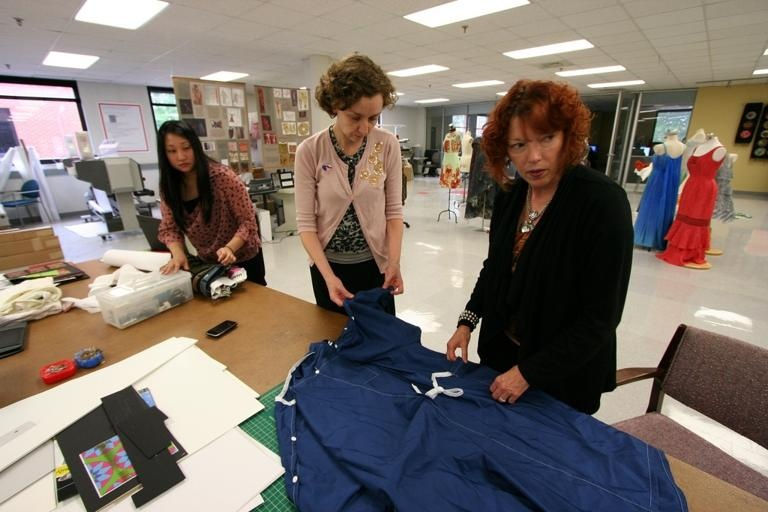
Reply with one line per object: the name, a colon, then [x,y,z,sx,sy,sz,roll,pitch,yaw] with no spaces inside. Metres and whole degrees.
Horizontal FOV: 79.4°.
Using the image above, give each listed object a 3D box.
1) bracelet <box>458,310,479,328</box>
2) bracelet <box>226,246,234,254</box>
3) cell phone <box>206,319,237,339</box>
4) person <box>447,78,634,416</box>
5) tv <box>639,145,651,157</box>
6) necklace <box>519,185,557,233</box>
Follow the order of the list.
bracelet: [0.463,0.345,2.579,0.113,0.076,0.089,5,11,-6]
bracelet: [-0.969,-0.035,2.921,0.012,0.042,0.043,-37,-12,-5]
cell phone: [-0.906,0.396,2.590,0.079,0.031,0.134,13,24,30]
person: [0.831,-0.078,2.335,0.621,1.531,0.593,-5,19,-9]
tv: [6.528,-2.615,11.613,0.067,0.251,0.274,1,19,-18]
necklace: [0.800,-0.242,2.429,0.059,0.224,0.133,10,11,-25]
